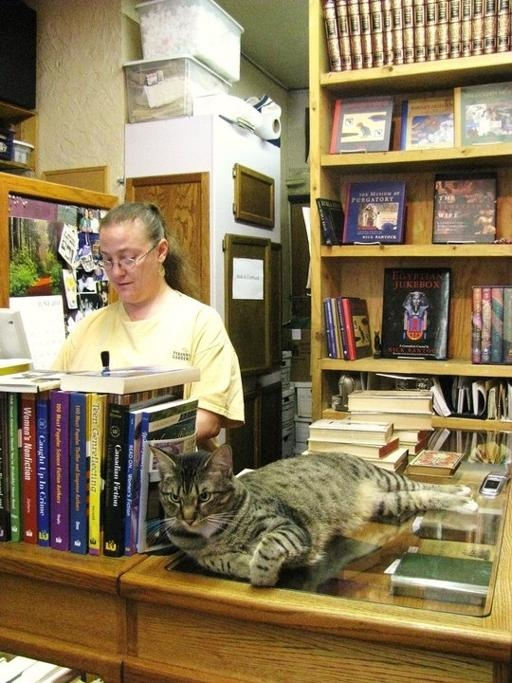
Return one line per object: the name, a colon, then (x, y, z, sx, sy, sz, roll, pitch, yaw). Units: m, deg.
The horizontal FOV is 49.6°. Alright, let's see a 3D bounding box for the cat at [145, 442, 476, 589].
cat: (0.081, 0.263, 0.941, 0.381, 0.169, 0.275, -12, -6, -38)
